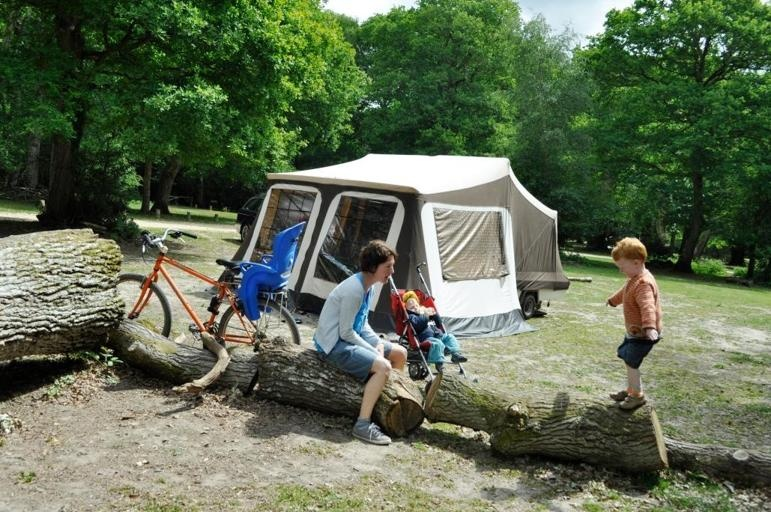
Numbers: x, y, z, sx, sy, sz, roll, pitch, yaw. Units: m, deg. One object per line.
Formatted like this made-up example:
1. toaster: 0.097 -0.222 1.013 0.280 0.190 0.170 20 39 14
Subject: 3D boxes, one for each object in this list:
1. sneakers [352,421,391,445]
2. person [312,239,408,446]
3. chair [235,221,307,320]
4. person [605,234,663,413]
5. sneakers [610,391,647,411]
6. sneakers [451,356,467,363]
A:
1. sneakers: -0.189 2.126 7.370 0.537 0.237 0.198 5 1 5
2. person: -0.317 1.005 7.611 1.114 2.386 0.743 8 5 4
3. chair: -1.775 0.223 8.976 1.084 1.202 0.958 -4 1 19
4. person: 2.925 0.793 7.282 0.469 1.527 0.727 4 7 -37
5. sneakers: 2.775 1.665 7.160 0.435 0.167 0.167 4 20 27
6. sneakers: 1.089 1.549 9.194 0.189 0.116 0.095 -8 -5 0
